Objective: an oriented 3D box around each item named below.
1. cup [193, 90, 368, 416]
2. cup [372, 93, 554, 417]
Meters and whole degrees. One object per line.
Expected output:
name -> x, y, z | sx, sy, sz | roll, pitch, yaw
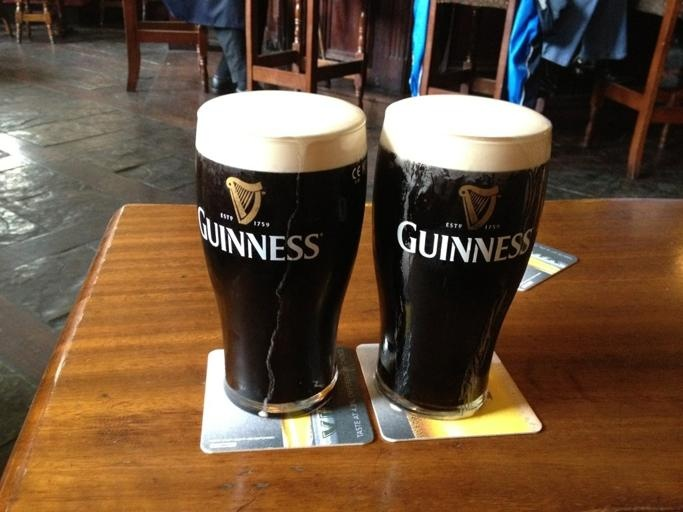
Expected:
cup -> -0.059, -0.005, 0.616 | 0.160, 0.304, 0.157 | 2, 28, -1
cup -> 0.105, -0.001, 0.623 | 0.164, 0.305, 0.149 | 2, 28, -1
